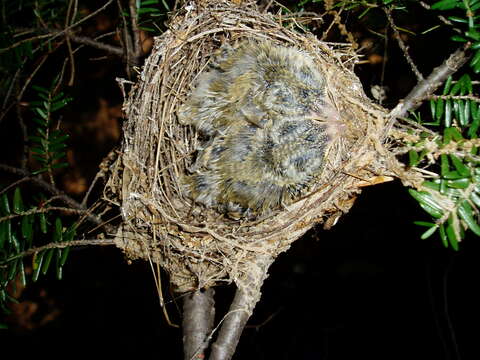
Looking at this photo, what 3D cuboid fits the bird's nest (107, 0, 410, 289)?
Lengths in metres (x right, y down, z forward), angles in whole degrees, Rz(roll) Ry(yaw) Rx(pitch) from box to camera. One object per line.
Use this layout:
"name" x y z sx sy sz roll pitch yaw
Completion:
"bird's nest" 0.042 -0.182 2.830 1.389 1.262 0.459 13 -2 12
